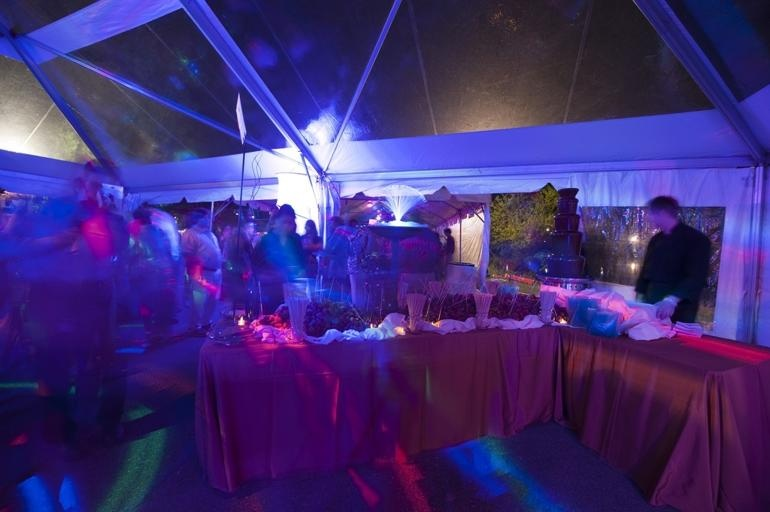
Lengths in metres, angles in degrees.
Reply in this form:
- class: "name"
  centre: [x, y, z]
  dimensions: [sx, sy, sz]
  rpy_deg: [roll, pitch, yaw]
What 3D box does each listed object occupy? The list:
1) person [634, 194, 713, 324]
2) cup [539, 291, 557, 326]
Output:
- class: "person"
  centre: [3.255, 0.042, 5.563]
  dimensions: [0.708, 1.417, 0.393]
  rpy_deg: [2, 3, 32]
- class: "cup"
  centre: [1.731, 0.540, 5.230]
  dimensions: [0.150, 0.360, 0.085]
  rpy_deg: [1, 2, 9]
